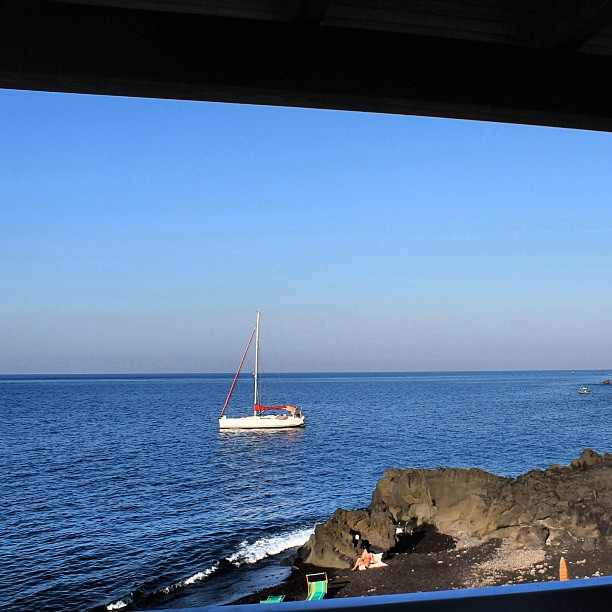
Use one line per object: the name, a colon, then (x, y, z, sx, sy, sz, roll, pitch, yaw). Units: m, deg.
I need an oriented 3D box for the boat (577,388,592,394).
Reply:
boat: (17.232, 5.255, 44.817, 0.639, 0.420, 1.085, 3, 0, 30)
